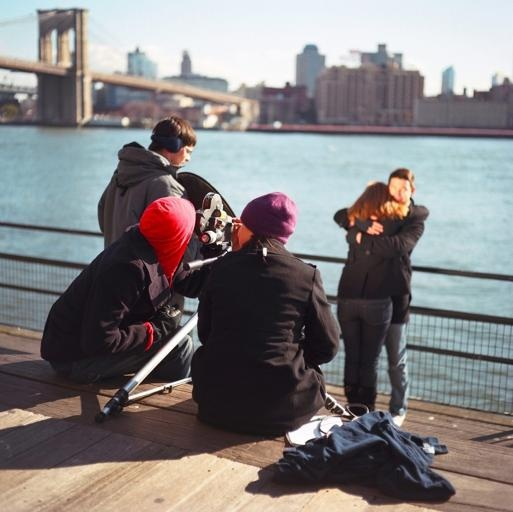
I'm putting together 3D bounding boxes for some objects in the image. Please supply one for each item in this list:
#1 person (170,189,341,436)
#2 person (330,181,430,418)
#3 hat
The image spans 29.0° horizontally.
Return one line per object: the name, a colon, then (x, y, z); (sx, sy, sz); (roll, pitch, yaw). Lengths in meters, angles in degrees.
person: (0.047, 0.273, 5.536); (0.920, 1.227, 0.923); (-1, 8, -35)
person: (0.782, 0.235, 6.302); (0.563, 1.581, 0.476); (3, 7, 8)
hat: (0.064, -0.210, 5.332); (0.324, 0.253, 0.244); (-12, -3, 19)
